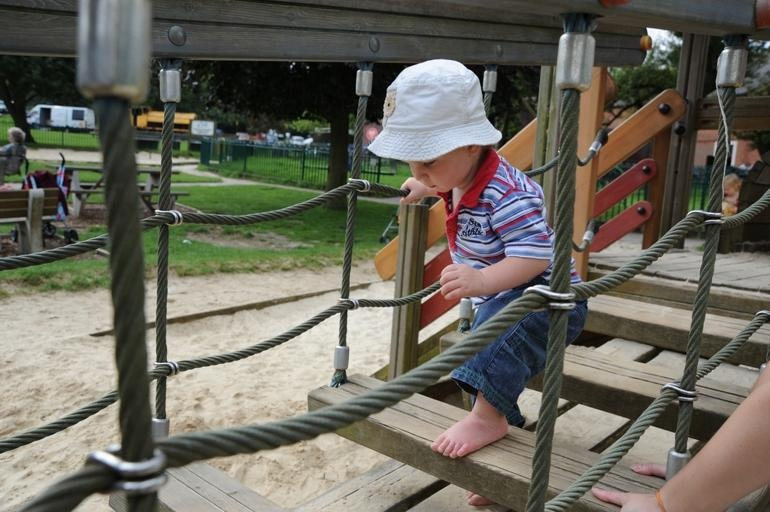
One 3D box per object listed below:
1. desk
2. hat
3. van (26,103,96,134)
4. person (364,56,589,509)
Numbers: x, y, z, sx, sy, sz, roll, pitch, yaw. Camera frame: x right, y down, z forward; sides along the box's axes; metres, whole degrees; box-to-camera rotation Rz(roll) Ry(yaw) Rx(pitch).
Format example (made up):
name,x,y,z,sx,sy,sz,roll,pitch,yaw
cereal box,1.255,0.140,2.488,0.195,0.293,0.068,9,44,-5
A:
name,x,y,z,sx,sy,sz,roll,pitch,yaw
desk,-4.328,-1.034,12.645,1.975,0.903,1.744,-2,11,-34
hat,0.219,-0.631,3.424,0.464,0.286,0.484,-14,17,-37
van,-9.568,-3.988,22.866,1.556,0.835,4.546,-4,14,-25
person,0.384,0.130,3.507,0.896,1.948,0.823,9,14,30
